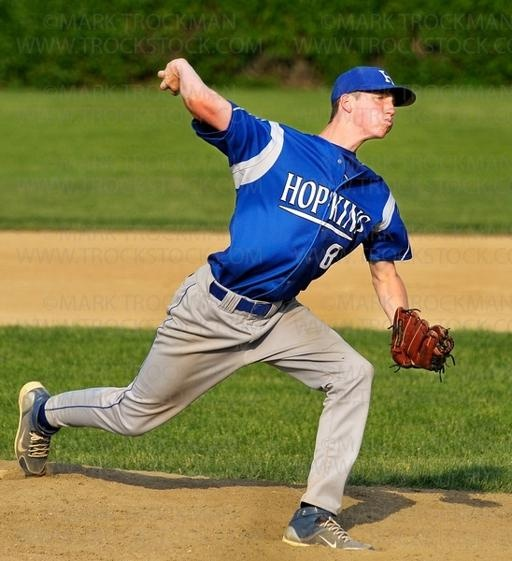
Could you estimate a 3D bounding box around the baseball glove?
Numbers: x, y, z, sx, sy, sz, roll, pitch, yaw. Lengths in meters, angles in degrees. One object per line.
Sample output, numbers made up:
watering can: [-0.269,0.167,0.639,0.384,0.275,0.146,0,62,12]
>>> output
baseball glove: [1.405,0.437,14.229,0.495,0.347,0.684,-22,31,8]

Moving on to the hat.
hat: [1.014,-1.721,14.294,0.518,0.293,0.394,-9,-1,17]
